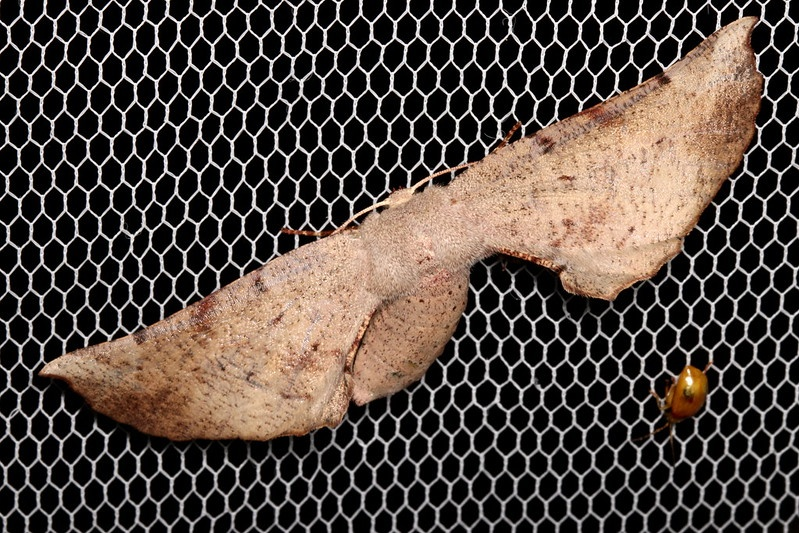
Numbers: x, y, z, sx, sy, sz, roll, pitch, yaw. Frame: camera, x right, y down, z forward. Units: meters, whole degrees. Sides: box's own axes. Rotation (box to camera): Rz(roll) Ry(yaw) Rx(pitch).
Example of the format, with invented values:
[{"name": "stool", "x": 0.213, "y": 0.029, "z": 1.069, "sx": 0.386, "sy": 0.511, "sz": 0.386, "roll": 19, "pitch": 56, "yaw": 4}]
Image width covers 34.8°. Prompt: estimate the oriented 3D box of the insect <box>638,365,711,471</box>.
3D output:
[{"name": "insect", "x": 0.661, "y": 0.323, "z": 2.985, "sx": 0.098, "sy": 0.072, "sz": 0.248, "roll": 31, "pitch": 74, "yaw": 11}]
